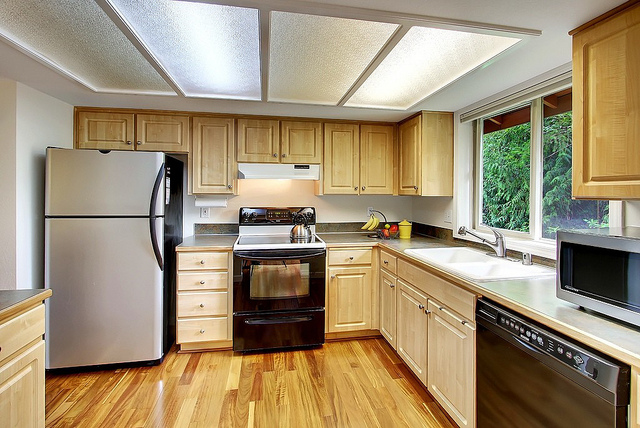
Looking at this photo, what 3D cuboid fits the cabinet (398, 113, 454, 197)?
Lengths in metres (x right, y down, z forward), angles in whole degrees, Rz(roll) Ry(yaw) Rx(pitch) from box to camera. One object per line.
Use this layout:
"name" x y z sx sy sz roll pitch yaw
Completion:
"cabinet" 1.021 -0.556 4.115 0.398 0.813 0.612 0 1 -8

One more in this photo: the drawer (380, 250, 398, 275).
"drawer" 0.641 0.440 3.764 0.145 0.129 0.219 1 2 -9

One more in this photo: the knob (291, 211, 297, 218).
"knob" -0.275 0.004 4.384 0.055 0.056 0.021 7 -10 2

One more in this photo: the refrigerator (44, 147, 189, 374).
"refrigerator" -1.825 0.381 3.581 1.035 1.877 0.278 -1 4 -9

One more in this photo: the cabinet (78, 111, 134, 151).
"cabinet" -2.006 -0.773 3.822 0.450 0.351 0.238 1 -2 -8

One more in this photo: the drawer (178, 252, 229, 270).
"drawer" -1.064 0.428 3.760 0.296 0.125 0.185 1 -2 -16

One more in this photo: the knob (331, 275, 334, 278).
"knob" 0.126 0.596 3.928 0.028 0.024 0.015 1 2 3

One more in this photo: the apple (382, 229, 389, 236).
"apple" 0.679 0.186 4.244 0.052 0.070 0.037 -2 4 -16

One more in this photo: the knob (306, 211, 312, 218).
"knob" -0.118 0.002 4.422 0.059 0.056 0.019 2 -4 -16

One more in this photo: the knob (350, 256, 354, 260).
"knob" 0.305 0.417 3.953 0.025 0.028 0.024 4 28 2

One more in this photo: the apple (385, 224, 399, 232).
"apple" 0.759 0.148 4.358 0.125 0.064 0.067 12 -9 -11

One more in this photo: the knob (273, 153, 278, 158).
"knob" -0.443 -0.585 4.093 0.044 0.041 0.024 4 3 -3

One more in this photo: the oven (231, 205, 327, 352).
"oven" -0.424 0.586 4.133 0.896 1.317 0.773 -2 4 -11

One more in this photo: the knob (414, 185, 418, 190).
"knob" 0.931 -0.254 3.973 0.034 0.044 0.011 1 -4 33

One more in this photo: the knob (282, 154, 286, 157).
"knob" -0.356 -0.583 4.106 0.024 0.029 0.023 6 -5 -6

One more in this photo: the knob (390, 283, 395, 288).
"knob" 0.648 0.633 3.679 0.045 0.014 0.061 1 4 11

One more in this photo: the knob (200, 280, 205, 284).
"knob" -1.067 0.615 3.762 0.028 0.030 0.007 -2 4 -16

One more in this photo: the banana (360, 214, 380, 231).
"banana" 0.568 0.100 4.534 0.181 0.090 0.271 15 -14 1

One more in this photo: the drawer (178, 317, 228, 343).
"drawer" -1.029 1.084 3.931 0.573 0.241 0.366 -7 -12 19
